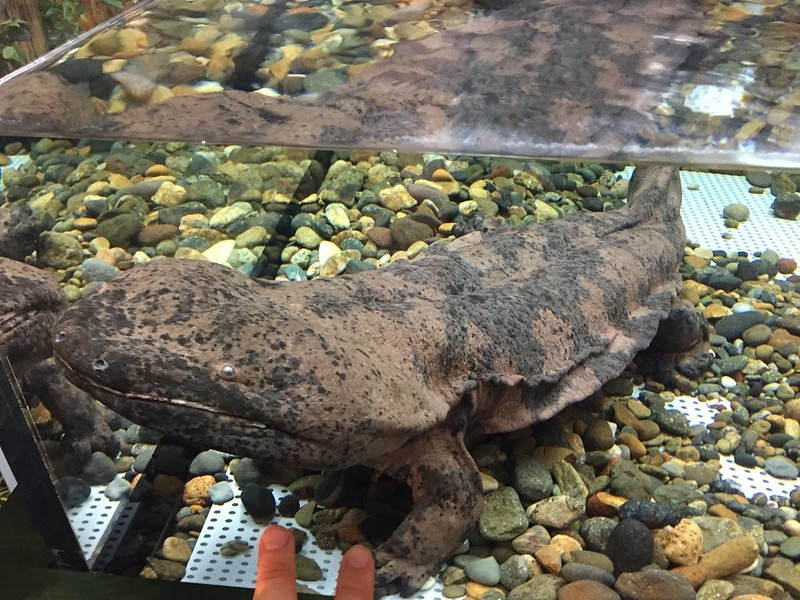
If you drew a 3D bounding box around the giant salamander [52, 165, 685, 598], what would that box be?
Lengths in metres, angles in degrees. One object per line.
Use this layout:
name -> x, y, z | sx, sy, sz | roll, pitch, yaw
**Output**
giant salamander -> 0.462, 0.075, 2.982 | 3.232, 0.656, 1.361 | -17, 28, -41
